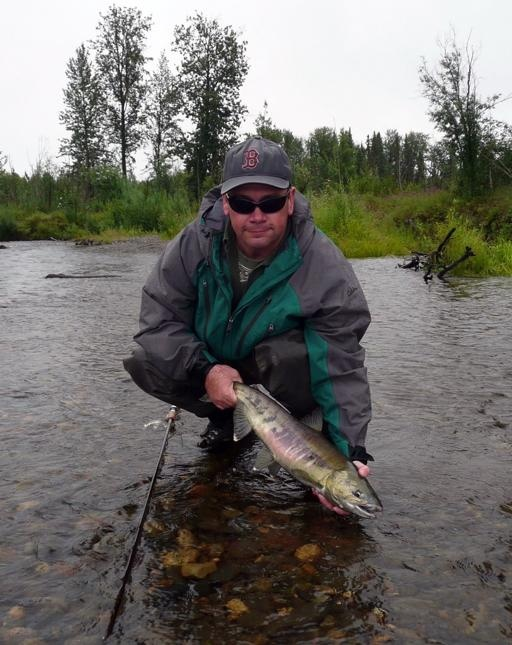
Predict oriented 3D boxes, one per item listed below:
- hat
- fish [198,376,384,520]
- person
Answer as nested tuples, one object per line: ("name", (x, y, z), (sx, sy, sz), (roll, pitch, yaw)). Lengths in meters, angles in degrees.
("hat", (0.000, -0.796, 2.646), (0.344, 0.288, 0.283), (-1, 12, -2))
("fish", (0.152, 0.521, 2.262), (0.173, 0.350, 0.929), (9, 21, -46))
("person", (0.089, -0.043, 2.729), (1.359, 1.591, 0.989), (7, 14, 30))
